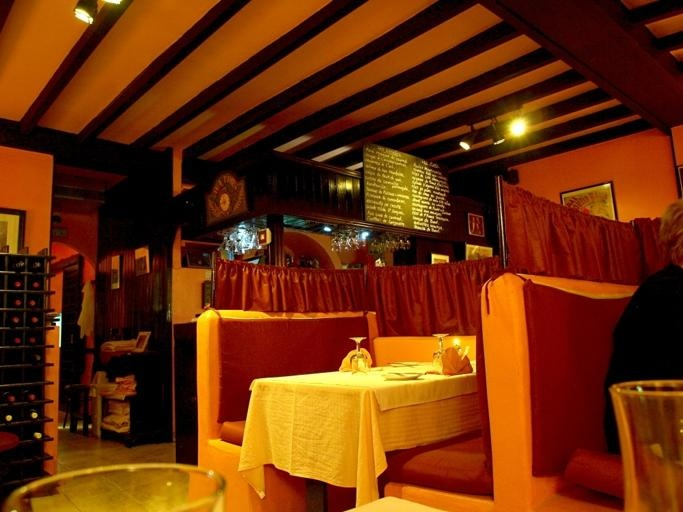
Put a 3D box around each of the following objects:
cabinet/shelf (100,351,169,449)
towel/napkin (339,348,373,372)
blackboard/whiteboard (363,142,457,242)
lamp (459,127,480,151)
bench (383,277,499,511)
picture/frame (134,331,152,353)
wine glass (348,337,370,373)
[{"bbox_3d":[-2.605,1.799,6.777,0.608,1.116,0.886,5,-10,-43],"label":"cabinet/shelf"},{"bbox_3d":[0.114,0.680,3.386,0.140,0.198,0.190,13,-24,-33],"label":"towel/napkin"},{"bbox_3d":[0.939,-0.882,7.170,1.706,1.067,0.057,7,-9,-40],"label":"blackboard/whiteboard"},{"bbox_3d":[1.686,-1.565,6.917,0.165,0.318,0.148,9,-40,33],"label":"lamp"},{"bbox_3d":[0.589,0.780,2.989,0.493,0.680,0.949,-9,-18,34],"label":"bench"},{"bbox_3d":[-2.707,1.170,7.126,0.230,0.252,0.011,-9,-27,41],"label":"picture/frame"},{"bbox_3d":[0.119,0.622,3.347,0.130,0.226,0.131,-11,-13,39],"label":"wine glass"}]
